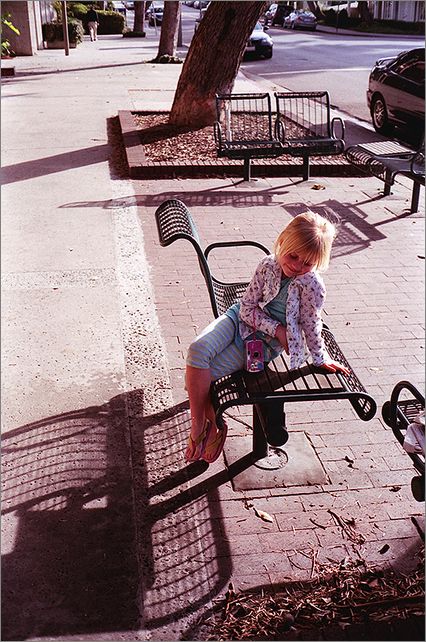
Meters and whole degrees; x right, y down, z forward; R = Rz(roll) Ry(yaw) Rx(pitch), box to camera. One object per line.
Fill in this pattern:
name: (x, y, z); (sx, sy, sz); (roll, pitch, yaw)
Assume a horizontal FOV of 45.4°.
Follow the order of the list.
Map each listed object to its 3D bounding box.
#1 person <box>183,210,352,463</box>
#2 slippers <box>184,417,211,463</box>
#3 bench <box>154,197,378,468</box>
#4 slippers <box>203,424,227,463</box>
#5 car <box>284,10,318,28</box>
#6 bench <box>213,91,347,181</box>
person: (0.234, 0.180, 2.515); (0.836, 1.395, 0.433); (-11, 29, -16)
slippers: (-0.086, 0.610, 2.591); (0.070, 0.255, 0.103); (-5, 36, -23)
bench: (0.196, -0.067, 2.750); (0.932, 1.079, 1.518); (1, 22, -2)
slippers: (0.012, 0.646, 2.606); (0.075, 0.266, 0.104); (-12, 41, -33)
car: (8.077, -28.215, 48.077); (1.875, 1.394, 3.235); (-7, 44, -6)
bench: (1.338, -4.125, 10.597); (2.236, 1.374, 6.436); (2, 28, 8)
